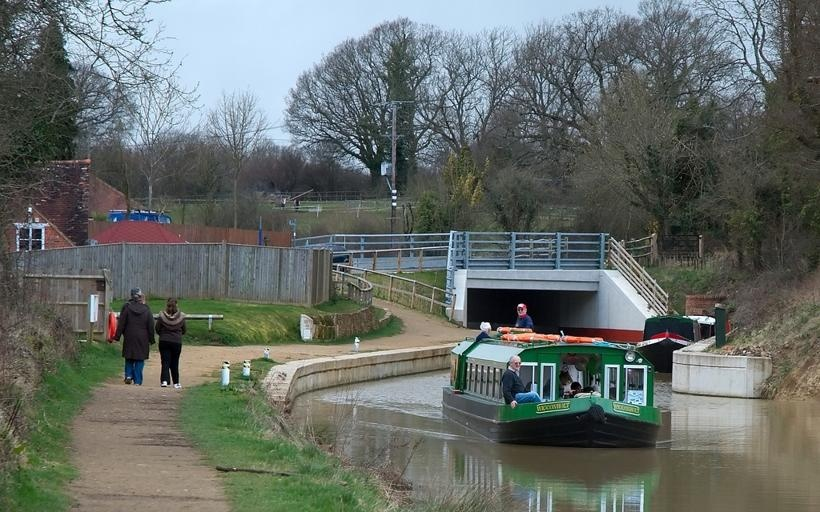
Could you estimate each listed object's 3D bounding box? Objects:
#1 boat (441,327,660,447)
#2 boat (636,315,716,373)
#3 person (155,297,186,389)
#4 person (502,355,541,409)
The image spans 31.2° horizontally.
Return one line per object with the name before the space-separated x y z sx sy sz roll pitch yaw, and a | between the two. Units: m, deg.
boat | 5.518 4.951 55.410 7.724 4.505 3.081 -1 -3 9
boat | 12.764 4.070 70.908 2.057 2.744 8.728 7 2 14
person | -8.694 3.168 53.789 1.007 3.302 1.096 1 -1 -16
person | 4.094 4.669 54.407 1.148 1.895 1.156 0 -3 -14
